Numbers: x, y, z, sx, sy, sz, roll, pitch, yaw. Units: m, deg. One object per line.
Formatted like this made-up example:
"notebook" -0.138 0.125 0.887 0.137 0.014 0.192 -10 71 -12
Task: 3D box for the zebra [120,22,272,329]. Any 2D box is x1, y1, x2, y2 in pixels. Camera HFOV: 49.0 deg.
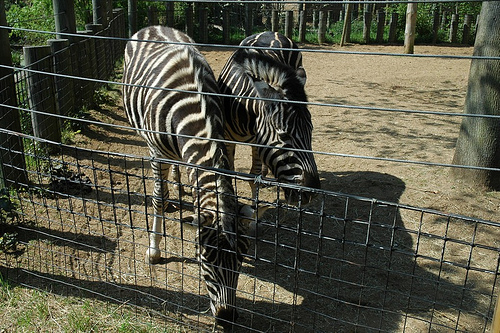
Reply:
"zebra" -0.709 0.001 6.282 1.282 2.976 3.130 -4 18 -14
